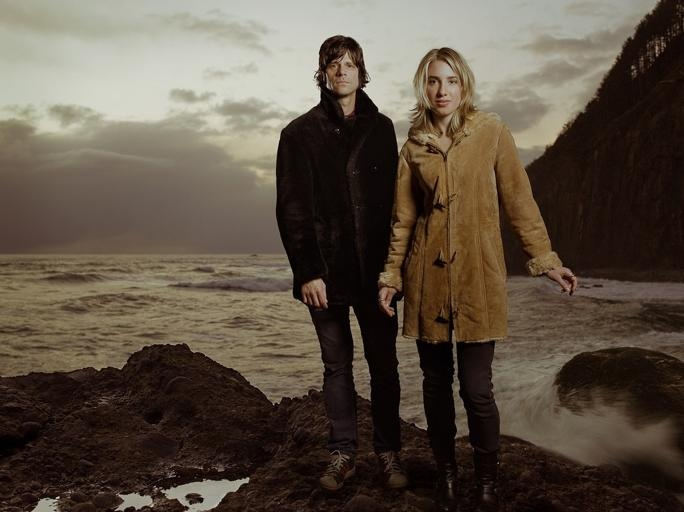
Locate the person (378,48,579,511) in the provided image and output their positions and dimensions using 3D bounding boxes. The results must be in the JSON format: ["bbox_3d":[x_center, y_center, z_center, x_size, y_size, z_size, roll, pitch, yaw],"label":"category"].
[{"bbox_3d":[0.981,0.184,5.438,1.393,3.767,0.556,-1,6,15],"label":"person"}]

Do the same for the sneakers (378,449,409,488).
[{"bbox_3d":[0.450,1.873,5.889,0.226,0.227,0.668,6,0,-11],"label":"sneakers"}]

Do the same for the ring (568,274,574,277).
[{"bbox_3d":[1.855,0.160,5.256,0.030,0.009,0.028,7,36,-5],"label":"ring"}]
